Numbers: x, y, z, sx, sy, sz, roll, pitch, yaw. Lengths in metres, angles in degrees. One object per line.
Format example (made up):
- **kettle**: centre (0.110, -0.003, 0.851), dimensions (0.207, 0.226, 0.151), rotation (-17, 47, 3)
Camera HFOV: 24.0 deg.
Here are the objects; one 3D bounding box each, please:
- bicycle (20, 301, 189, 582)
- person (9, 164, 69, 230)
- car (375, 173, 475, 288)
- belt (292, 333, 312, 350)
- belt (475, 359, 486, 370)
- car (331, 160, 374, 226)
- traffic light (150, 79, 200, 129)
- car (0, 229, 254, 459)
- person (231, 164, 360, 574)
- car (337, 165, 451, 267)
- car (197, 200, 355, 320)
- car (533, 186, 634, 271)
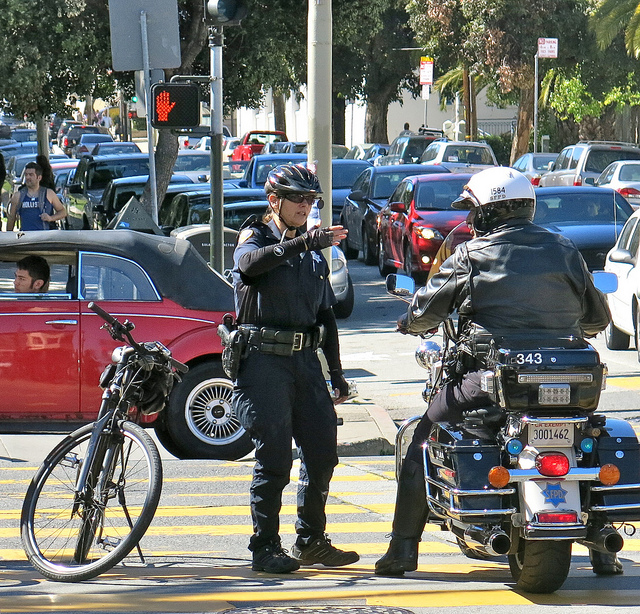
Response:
- **bicycle**: centre (-1.149, 0.750, 7.689), dimensions (0.778, 1.195, 0.769), rotation (0, 8, -6)
- **person**: centre (-3.068, -1.212, 16.255), dimensions (0.567, 0.692, 0.555), rotation (-1, 8, -10)
- **car**: centre (1.408, -1.138, 20.127), dimensions (1.110, 0.873, 2.111), rotation (0, 1, -10)
- **belt**: centre (-0.095, 0.171, 7.913), dimensions (0.073, 0.093, 0.053), rotation (1, 6, -3)
- **belt**: centre (0.810, 0.284, 7.587), dimensions (0.048, 0.046, 0.032), rotation (28, 15, -5)
- **car**: centre (0.595, -2.084, 25.541), dimensions (0.835, 0.720, 1.664), rotation (0, 6, 3)
- **traffic light**: centre (-1.266, -1.749, 12.920), dimensions (0.464, 0.416, 0.148), rotation (-3, 11, -22)
- **car**: centre (-1.522, 0.100, 10.865), dimensions (2.319, 1.046, 1.219), rotation (1, 1, -5)
- **person**: centre (-0.122, 0.324, 7.982), dimensions (0.644, 2.157, 0.699), rotation (-4, 9, -29)
- **car**: centre (0.909, -1.589, 23.591), dimensions (1.195, 1.045, 2.572), rotation (0, 2, -12)
- **car**: centre (-0.313, -0.649, 17.638), dimensions (2.164, 0.972, 1.039), rotation (-2, 7, -1)
- **car**: centre (3.253, -0.970, 17.535), dimensions (1.185, 0.787, 2.445), rotation (0, 11, -4)
